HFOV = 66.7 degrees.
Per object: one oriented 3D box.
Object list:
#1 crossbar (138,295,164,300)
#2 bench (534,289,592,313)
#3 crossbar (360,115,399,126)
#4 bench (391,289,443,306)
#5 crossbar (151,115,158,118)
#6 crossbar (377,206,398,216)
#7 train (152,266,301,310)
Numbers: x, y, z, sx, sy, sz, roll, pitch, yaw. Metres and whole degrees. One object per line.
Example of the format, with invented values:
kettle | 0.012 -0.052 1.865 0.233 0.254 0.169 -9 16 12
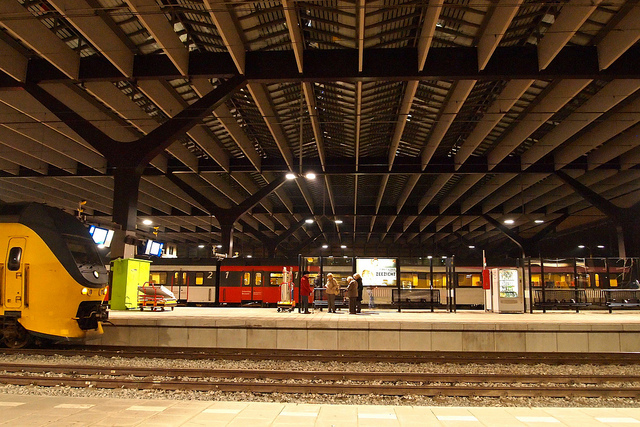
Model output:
crossbar | -7.834 3.915 22.675 0.948 0.236 1.679 -1 -11 -1
bench | 11.539 4.191 23.325 2.392 1.104 2.783 -5 -12 20
crossbar | 2.399 -3.860 20.192 1.605 0.375 0.586 -3 -12 10
bench | 4.532 4.042 23.360 2.313 0.807 1.027 -2 -12 4
crossbar | -6.787 -3.937 19.822 0.456 0.085 0.068 0 -2 -15
crossbar | 4.794 -0.128 34.968 1.202 0.570 0.138 -3 -53 6
train | -6.295 4.845 34.003 13.997 2.876 2.541 -5 -7 34
